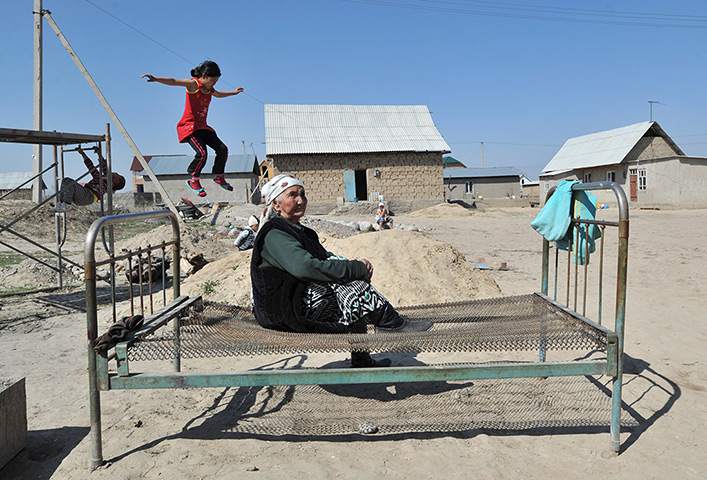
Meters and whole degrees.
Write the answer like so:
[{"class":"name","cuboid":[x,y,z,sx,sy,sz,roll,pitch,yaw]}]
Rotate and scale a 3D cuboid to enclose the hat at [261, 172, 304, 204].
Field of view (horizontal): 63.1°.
[{"class":"hat","cuboid":[-0.672,-0.479,5.440,0.328,0.175,0.292,2,16,21]}]
